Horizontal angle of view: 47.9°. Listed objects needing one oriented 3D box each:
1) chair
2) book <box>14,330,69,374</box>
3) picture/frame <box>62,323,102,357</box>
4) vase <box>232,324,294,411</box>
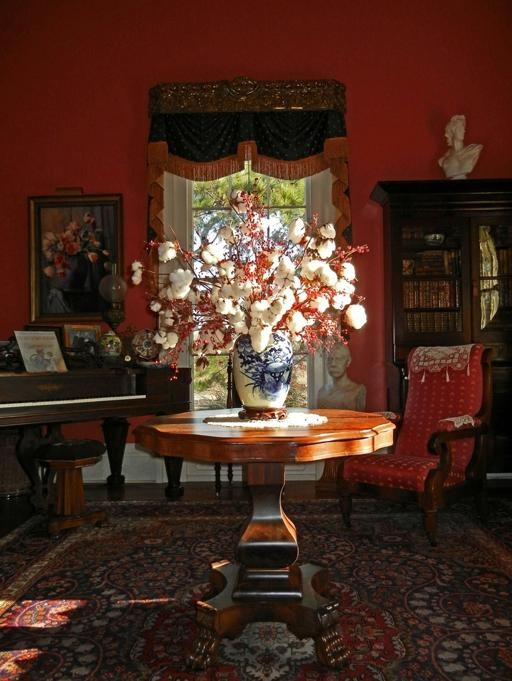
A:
[{"bbox_3d":[0.962,0.551,3.534,0.840,1.051,0.904,-1,1,29],"label":"chair"},{"bbox_3d":[-1.296,0.073,3.459,0.034,0.285,0.273,-25,-9,32],"label":"book"},{"bbox_3d":[-1.334,-0.004,4.412,0.267,0.238,0.035,-1,-15,-1],"label":"picture/frame"},{"bbox_3d":[0.017,0.120,2.151,0.207,0.311,0.205,1,3,22],"label":"vase"}]
